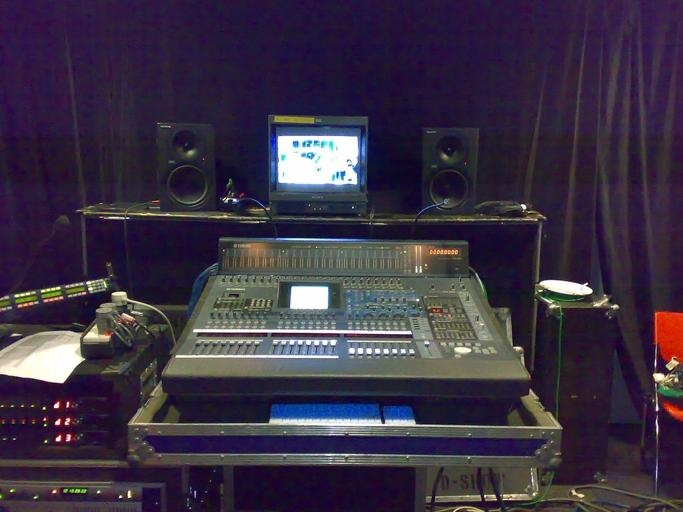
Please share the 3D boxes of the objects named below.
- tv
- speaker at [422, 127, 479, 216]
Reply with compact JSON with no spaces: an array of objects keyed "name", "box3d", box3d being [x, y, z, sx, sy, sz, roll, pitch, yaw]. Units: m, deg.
[{"name":"tv","box3d":[-0.129,-0.487,3.212,0.768,0.402,0.651,0,-88,0]},{"name":"speaker","box3d":[0.618,-0.449,3.161,0.288,0.264,0.470,3,-83,24]}]
